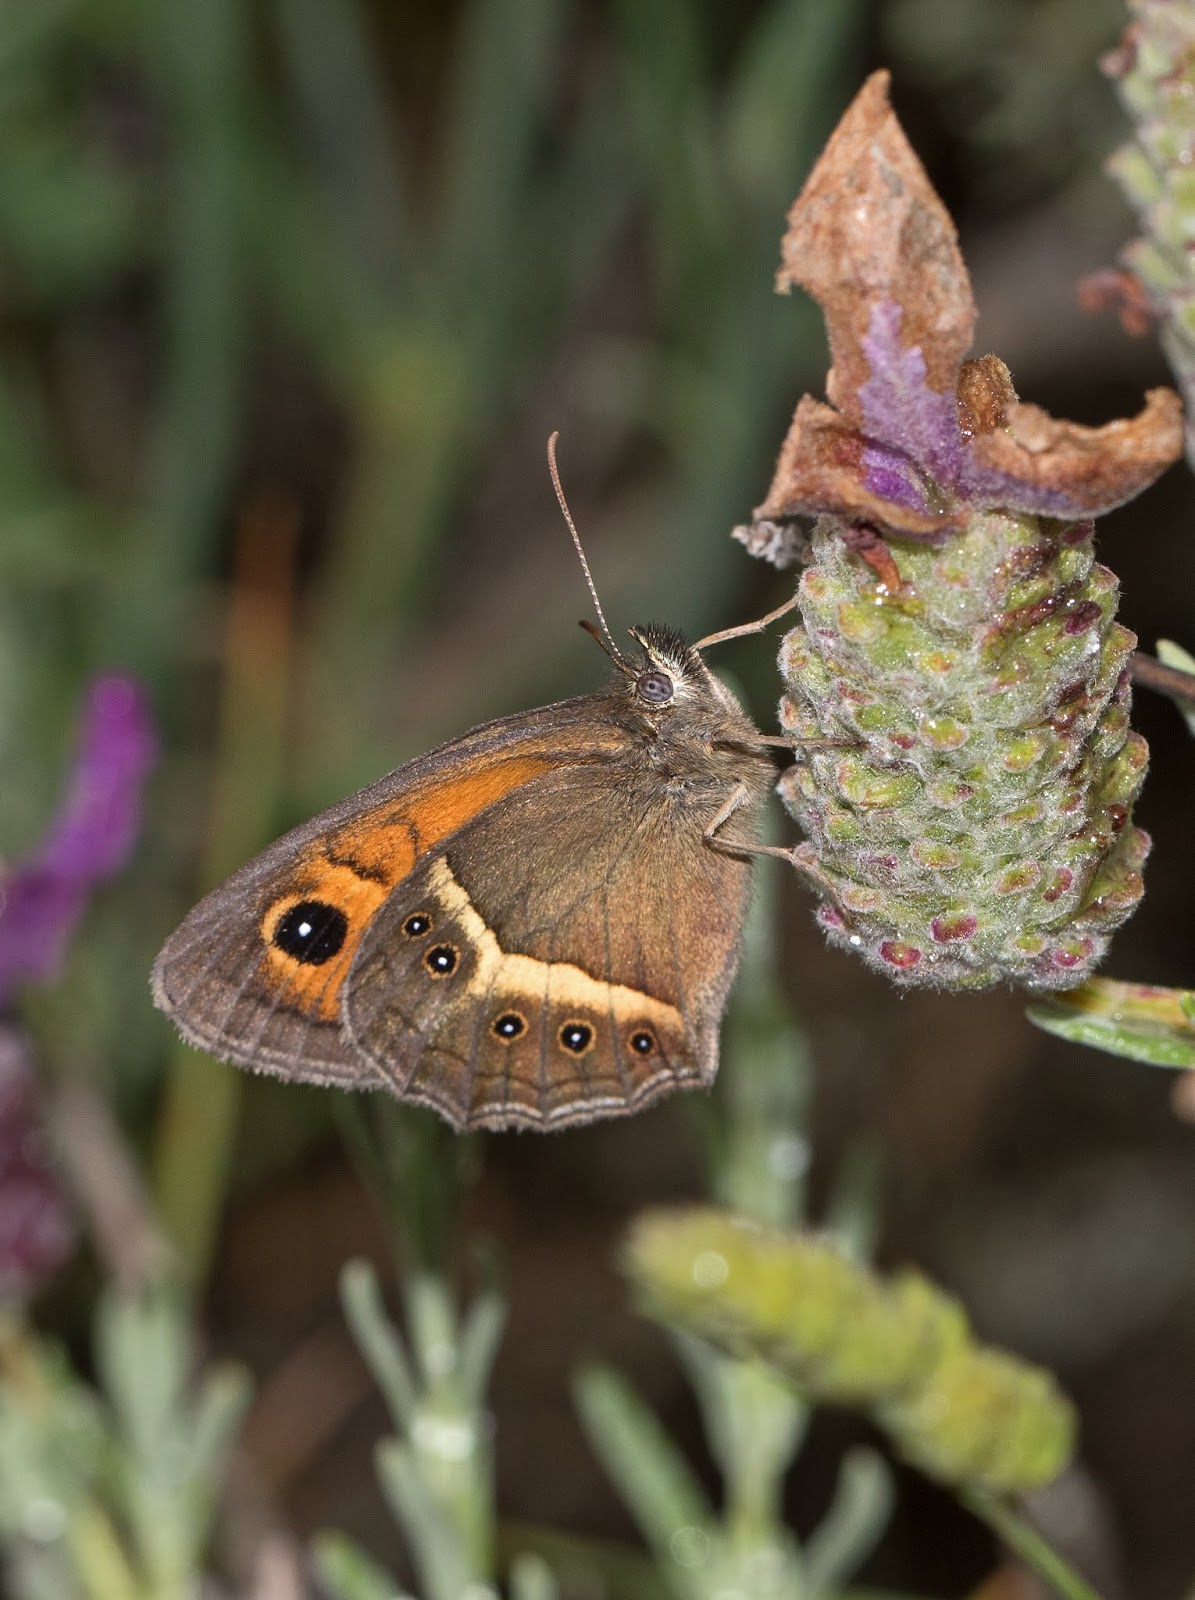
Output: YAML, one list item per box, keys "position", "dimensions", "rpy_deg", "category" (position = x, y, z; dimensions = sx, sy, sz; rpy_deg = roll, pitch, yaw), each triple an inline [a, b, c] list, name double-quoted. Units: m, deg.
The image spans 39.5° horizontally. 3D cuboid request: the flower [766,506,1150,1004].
- position: [0.279, -0.034, 1.248]
  dimensions: [0.286, 0.399, 0.186]
  rpy_deg: [1, 33, 6]
  category: "flower"
